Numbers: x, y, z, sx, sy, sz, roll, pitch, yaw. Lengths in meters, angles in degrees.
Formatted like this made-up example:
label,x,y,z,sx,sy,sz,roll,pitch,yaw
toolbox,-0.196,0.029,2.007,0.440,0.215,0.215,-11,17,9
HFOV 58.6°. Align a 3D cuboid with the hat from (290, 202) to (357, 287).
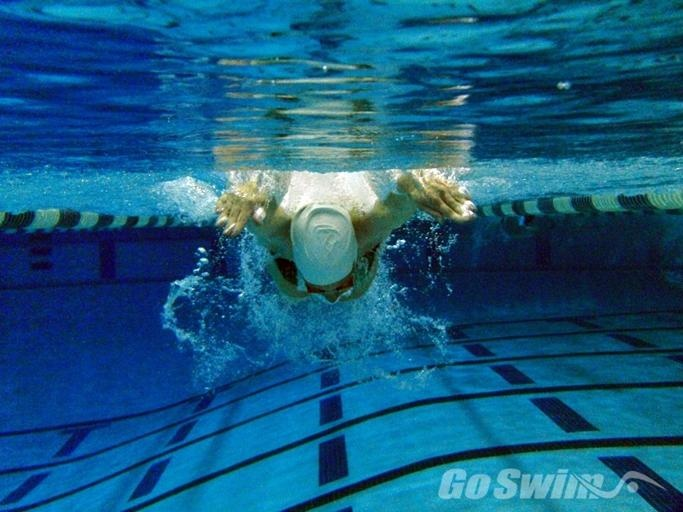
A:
label,x,y,z,sx,sy,sz,roll,pitch,yaw
hat,-0.130,-0.047,5.434,0.753,0.679,0.587,-7,-26,5
